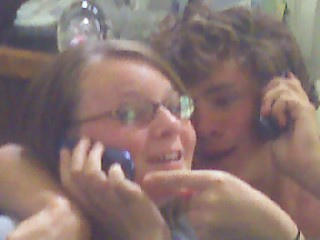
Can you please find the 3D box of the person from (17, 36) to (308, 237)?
[{"bbox_3d":[-0.045,0.104,2.186,1.103,0.702,0.659,25,14,39],"label":"person"}]
